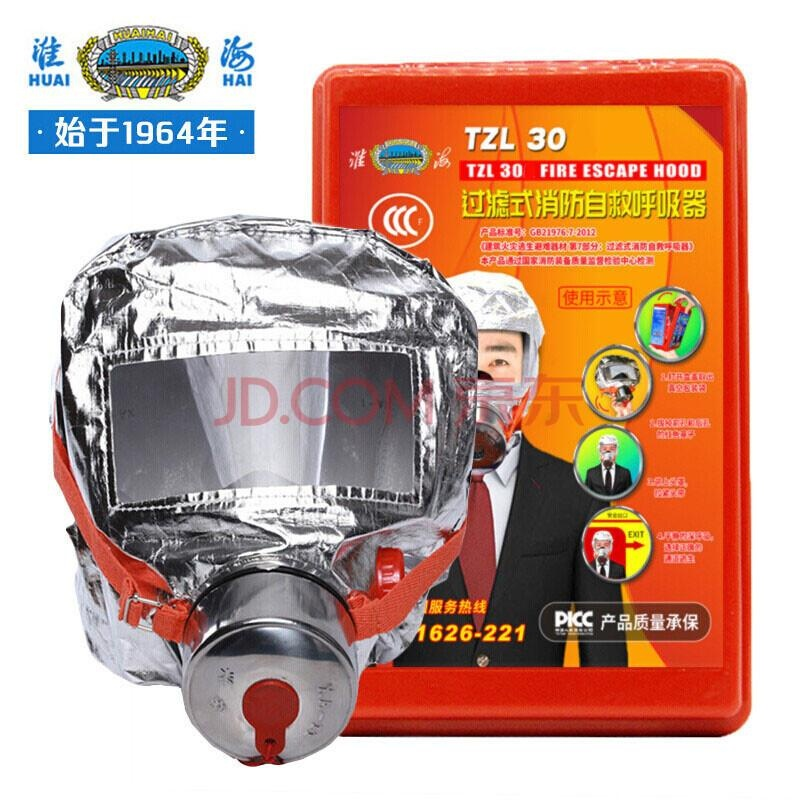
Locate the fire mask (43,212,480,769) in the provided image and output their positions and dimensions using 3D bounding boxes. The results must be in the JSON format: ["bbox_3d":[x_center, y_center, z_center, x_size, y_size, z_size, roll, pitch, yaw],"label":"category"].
[{"bbox_3d":[-0.257,0.145,1.739,0.762,0.850,0.546,0,18,6],"label":"fire mask"}]
